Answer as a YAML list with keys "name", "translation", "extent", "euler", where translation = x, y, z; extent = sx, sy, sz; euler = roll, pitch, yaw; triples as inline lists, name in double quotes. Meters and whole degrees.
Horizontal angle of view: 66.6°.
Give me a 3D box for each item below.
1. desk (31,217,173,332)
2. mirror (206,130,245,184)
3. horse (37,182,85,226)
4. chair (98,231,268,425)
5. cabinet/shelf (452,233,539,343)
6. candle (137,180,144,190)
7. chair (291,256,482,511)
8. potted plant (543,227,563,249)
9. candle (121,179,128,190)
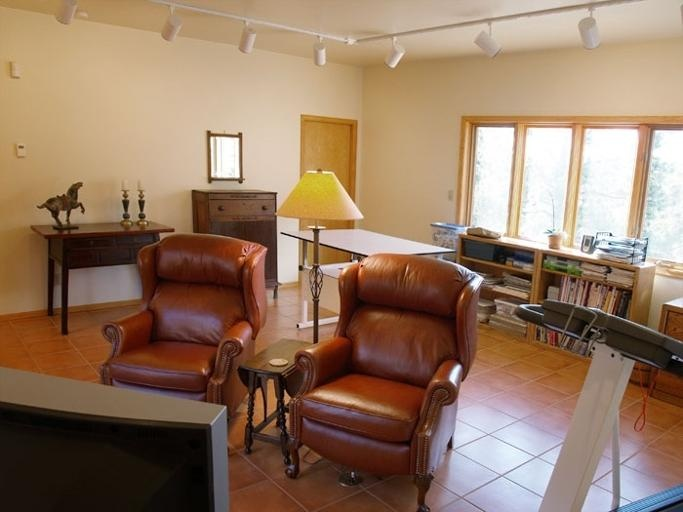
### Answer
- name: "desk"
  translation: [-2.261, 0.227, 5.293]
  extent: [1.260, 0.866, 0.633]
  euler: [-5, -1, -21]
- name: "mirror"
  translation: [-1.390, -1.185, 6.096]
  extent: [0.618, 0.824, 0.058]
  euler: [-4, 7, -36]
- name: "horse"
  translation: [-2.726, -0.507, 5.070]
  extent: [0.399, 0.418, 0.457]
  euler: [-5, 14, -27]
- name: "chair"
  translation: [-1.041, 0.465, 3.405]
  extent: [0.925, 1.101, 0.809]
  euler: [3, 13, 5]
- name: "cabinet/shelf"
  translation: [1.407, 0.275, 4.641]
  extent: [0.305, 0.877, 0.936]
  euler: [-9, 15, -40]
- name: "candle"
  translation: [-2.137, -0.758, 5.499]
  extent: [0.046, 0.101, 0.175]
  euler: [-6, 15, -29]
- name: "chair"
  translation: [0.252, 0.642, 2.975]
  extent: [0.880, 1.173, 0.865]
  euler: [7, 14, 23]
- name: "potted plant"
  translation: [2.012, -0.183, 4.965]
  extent: [0.175, 0.203, 0.161]
  euler: [0, 1, 2]
- name: "candle"
  translation: [-2.237, -0.739, 5.376]
  extent: [0.067, 0.094, 0.138]
  euler: [-4, 14, -23]
